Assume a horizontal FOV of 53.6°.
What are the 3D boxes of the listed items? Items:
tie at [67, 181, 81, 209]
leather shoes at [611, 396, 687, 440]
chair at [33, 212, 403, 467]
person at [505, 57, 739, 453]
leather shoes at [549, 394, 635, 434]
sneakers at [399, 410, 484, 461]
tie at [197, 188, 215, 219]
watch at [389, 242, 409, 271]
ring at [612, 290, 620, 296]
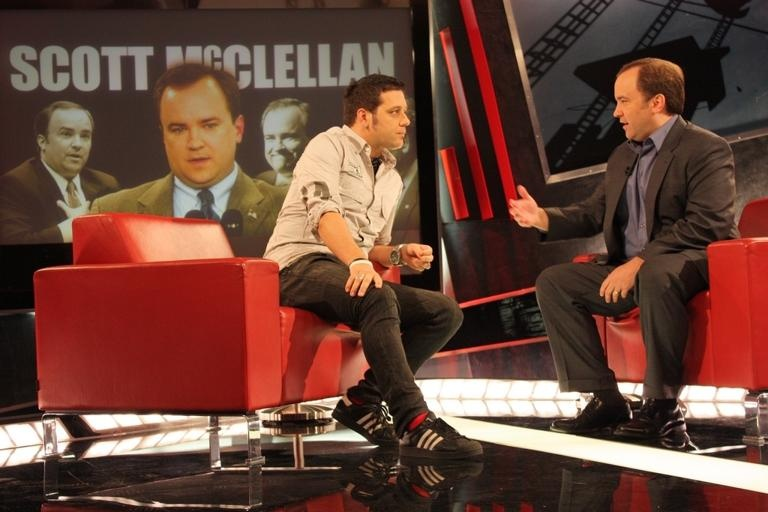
[{"bbox_3d":[-2.186,-0.429,5.357,0.070,0.210,0.063,-7,-1,-4],"label":"tie"},{"bbox_3d":[1.221,0.725,3.434,0.403,0.178,0.160,0,6,-27],"label":"leather shoes"},{"bbox_3d":[-0.612,0.329,3.834,1.217,1.094,1.706,-4,0,30],"label":"chair"},{"bbox_3d":[1.173,-0.047,3.717,1.052,1.786,0.976,-4,-12,39],"label":"person"},{"bbox_3d":[0.982,0.738,3.604,0.441,0.182,0.148,12,-37,-18],"label":"leather shoes"},{"bbox_3d":[0.234,0.767,3.216,0.368,0.164,0.160,0,-3,10],"label":"sneakers"},{"bbox_3d":[-1.258,-0.370,5.423,0.114,0.210,0.059,-12,9,1],"label":"tie"},{"bbox_3d":[0.069,-0.005,3.734,0.120,0.111,0.070,-5,8,-44],"label":"watch"},{"bbox_3d":[1.076,0.175,3.520,0.030,0.022,0.046,0,-1,22],"label":"ring"}]
